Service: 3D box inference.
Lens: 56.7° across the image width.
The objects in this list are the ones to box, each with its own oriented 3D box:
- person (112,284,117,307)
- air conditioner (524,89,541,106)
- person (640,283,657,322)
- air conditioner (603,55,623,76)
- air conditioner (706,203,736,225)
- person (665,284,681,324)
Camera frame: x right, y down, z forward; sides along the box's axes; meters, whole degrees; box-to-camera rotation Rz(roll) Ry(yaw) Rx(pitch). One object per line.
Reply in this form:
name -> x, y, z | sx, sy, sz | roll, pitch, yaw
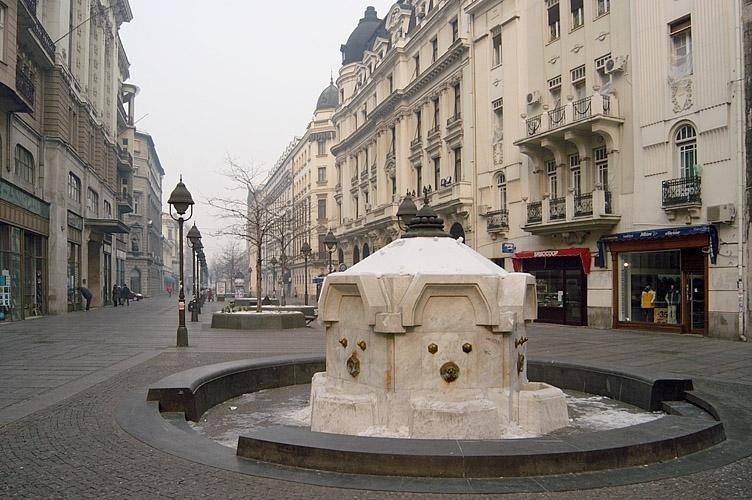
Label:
person -> -19.589, 3.441, 52.007 | 0.410, 1.318, 1.577 | -5, 14, -21
air conditioner -> 7.211, -6.810, 31.743 | 0.506, 0.912, 0.979 | 3, -5, -14
person -> 10.496, 2.042, 26.765 | 0.217, 1.343, 0.753 | -5, 14, -21
air conditioner -> 9.487, -7.276, 27.755 | 0.534, 0.889, 1.013 | 2, -2, -19
air conditioner -> 11.912, -1.224, 23.920 | 0.297, 0.751, 0.955 | -11, 17, -40
person -> 11.056, 1.991, 25.892 | 0.224, 1.484, 0.666 | -7, 14, -28
